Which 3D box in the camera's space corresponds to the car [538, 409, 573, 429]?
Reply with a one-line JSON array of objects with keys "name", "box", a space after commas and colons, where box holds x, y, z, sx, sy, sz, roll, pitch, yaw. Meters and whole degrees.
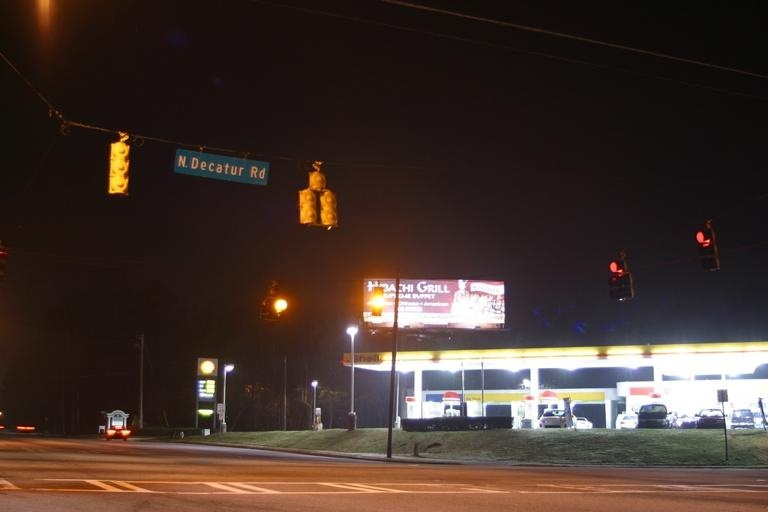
[{"name": "car", "box": [13.309, 12.576, 60.589, 2.052, 1.405, 3.165, -1, 1, 17]}]

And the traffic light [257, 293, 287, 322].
[{"name": "traffic light", "box": [-4.876, 2.364, 35.986, 1.260, 1.271, 0.883, 4, 1, 24]}]

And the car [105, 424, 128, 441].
[{"name": "car", "box": [-27.156, 17.934, 79.963, 2.851, 1.326, 1.437, -13, -19, 42]}]

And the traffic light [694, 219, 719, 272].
[{"name": "traffic light", "box": [14.200, -0.405, 34.434, 0.761, 2.312, 1.257, -4, -14, 21]}]
